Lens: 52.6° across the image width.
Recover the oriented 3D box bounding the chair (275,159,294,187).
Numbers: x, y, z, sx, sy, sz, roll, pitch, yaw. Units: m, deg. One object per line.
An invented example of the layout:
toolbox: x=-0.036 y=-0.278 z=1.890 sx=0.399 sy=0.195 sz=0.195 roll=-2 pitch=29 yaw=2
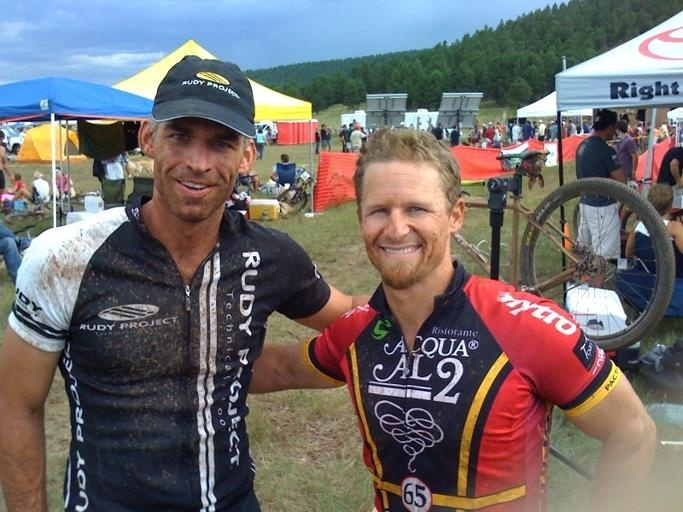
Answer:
chair: x=-1.380 y=-2.038 z=16.783 sx=0.411 sy=0.547 sz=0.475 roll=1 pitch=0 yaw=-4

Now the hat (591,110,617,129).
hat: x=3.243 y=-1.698 z=8.511 sx=0.251 sy=0.256 sz=0.401 roll=1 pitch=12 yaw=20

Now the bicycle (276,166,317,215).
bicycle: x=-1.099 y=-1.527 z=16.439 sx=0.653 sy=0.902 sz=1.316 roll=2 pitch=5 yaw=-1

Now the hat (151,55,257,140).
hat: x=-0.678 y=-0.808 z=3.512 sx=0.527 sy=0.440 sz=0.763 roll=7 pitch=1 yaw=-19

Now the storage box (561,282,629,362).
storage box: x=2.298 y=0.506 z=6.280 sx=0.544 sy=0.242 sz=1.193 roll=-7 pitch=29 yaw=8

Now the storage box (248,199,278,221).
storage box: x=-1.689 y=-1.027 z=15.031 sx=0.465 sy=0.361 sz=0.505 roll=-1 pitch=8 yaw=-15
